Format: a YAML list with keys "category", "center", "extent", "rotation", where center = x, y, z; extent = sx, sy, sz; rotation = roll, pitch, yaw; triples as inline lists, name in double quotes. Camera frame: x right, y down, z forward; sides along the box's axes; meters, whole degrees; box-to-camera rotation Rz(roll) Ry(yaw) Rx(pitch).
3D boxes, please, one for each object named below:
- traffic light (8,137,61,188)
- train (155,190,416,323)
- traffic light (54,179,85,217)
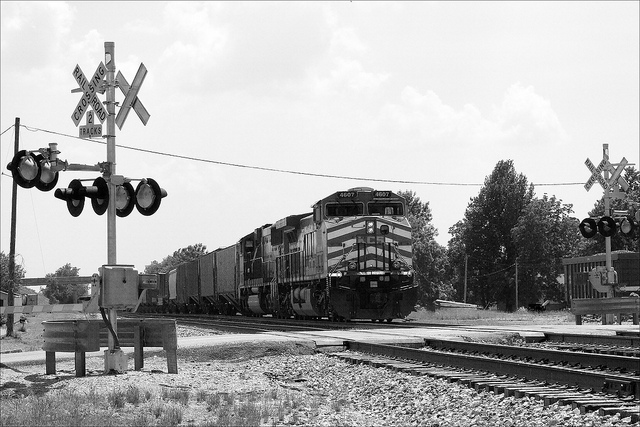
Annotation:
- category: "traffic light"
  center: [-6.553, -1.056, 19.180]
  extent: [1.096, 0.952, 0.475]
  rotation: [-3, -11, 10]
- category: "train"
  center: [-3.427, 3.095, 47.866]
  extent: [5.848, 6.159, 33.050]
  rotation: [2, -7, -16]
- category: "traffic light"
  center: [-5.035, -0.344, 16.981]
  extent: [0.726, 0.321, 0.848]
  rotation: [16, -54, 5]
